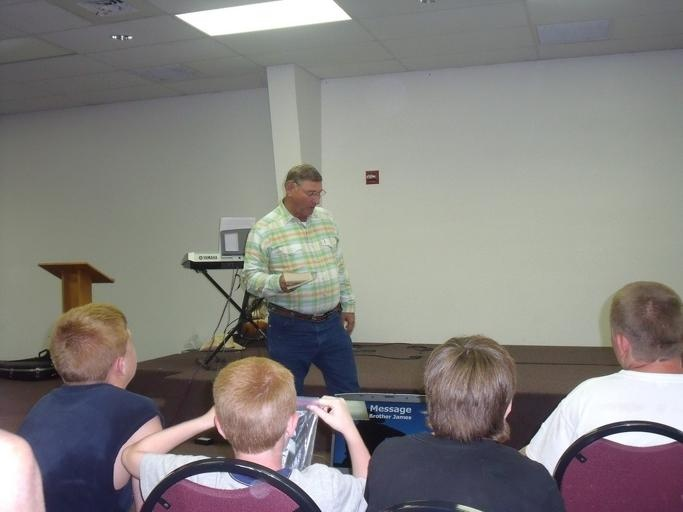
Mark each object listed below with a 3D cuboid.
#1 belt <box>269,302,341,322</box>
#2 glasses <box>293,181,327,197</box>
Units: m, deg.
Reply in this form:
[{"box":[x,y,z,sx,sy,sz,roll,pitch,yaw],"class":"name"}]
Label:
[{"box":[-0.208,0.322,3.185,0.428,0.086,0.173,0,5,-8],"class":"belt"},{"box":[-0.186,-0.385,3.182,0.151,0.099,0.054,-1,5,-16],"class":"glasses"}]
